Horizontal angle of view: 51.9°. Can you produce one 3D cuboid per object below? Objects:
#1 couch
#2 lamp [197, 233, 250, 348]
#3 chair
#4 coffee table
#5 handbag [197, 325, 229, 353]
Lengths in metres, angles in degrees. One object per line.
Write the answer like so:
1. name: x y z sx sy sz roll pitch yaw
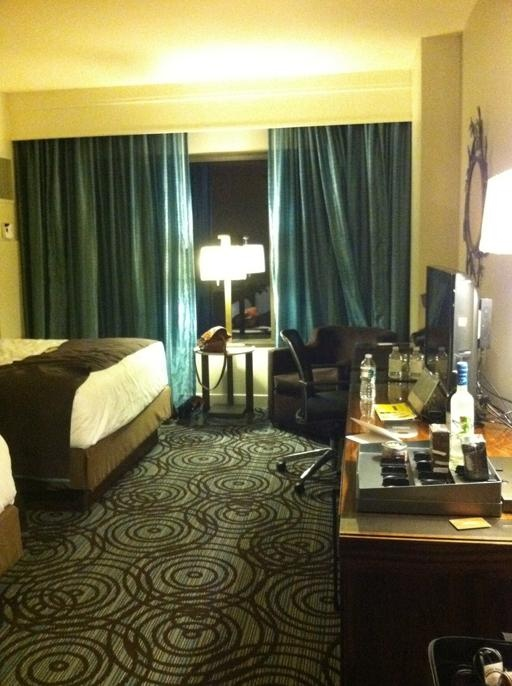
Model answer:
1. couch: 0.462 0.211 3.981 0.812 1.018 0.899 2 2 35
2. lamp: -0.310 -0.457 4.501 0.388 0.885 0.630 -2 6 -9
3. chair: 0.390 0.363 3.435 0.732 1.069 0.775 0 6 9
4. coffee table: -0.262 0.271 4.644 0.594 0.695 0.578 -8 21 -15
5. handbag: -0.355 -0.040 4.315 0.198 0.182 0.205 2 7 5
